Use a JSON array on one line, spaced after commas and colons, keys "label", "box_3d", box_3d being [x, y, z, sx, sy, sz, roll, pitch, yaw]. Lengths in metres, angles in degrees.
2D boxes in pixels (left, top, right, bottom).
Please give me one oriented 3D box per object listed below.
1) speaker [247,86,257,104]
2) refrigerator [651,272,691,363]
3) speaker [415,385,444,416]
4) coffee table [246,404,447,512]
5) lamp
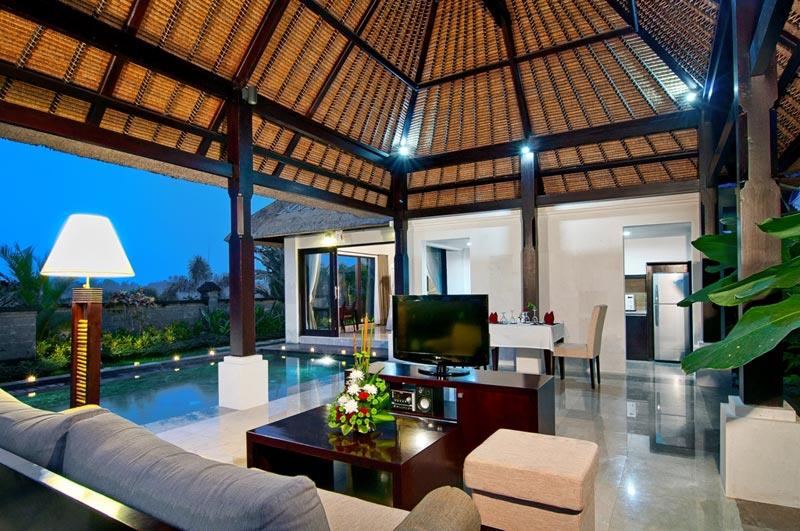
[{"label": "speaker", "box_3d": [-2.008, -2.310, 6.746, 0.130, 0.208, 0.127, -1, 5, -11]}, {"label": "refrigerator", "box_3d": [5.096, 0.974, 9.365, 0.645, 1.698, 0.328, 2, 5, 23]}, {"label": "speaker", "box_3d": [0.281, 1.312, 4.884, 0.263, 0.272, 0.283, -3, -8, 25]}, {"label": "coffee table", "box_3d": [-0.366, 1.343, 4.246, 1.168, 0.580, 0.821, -2, -3, 31]}, {"label": "lamp", "box_3d": [-2.857, -0.138, 4.736, 0.761, 1.205, 0.797, -3, 6, -30]}]
